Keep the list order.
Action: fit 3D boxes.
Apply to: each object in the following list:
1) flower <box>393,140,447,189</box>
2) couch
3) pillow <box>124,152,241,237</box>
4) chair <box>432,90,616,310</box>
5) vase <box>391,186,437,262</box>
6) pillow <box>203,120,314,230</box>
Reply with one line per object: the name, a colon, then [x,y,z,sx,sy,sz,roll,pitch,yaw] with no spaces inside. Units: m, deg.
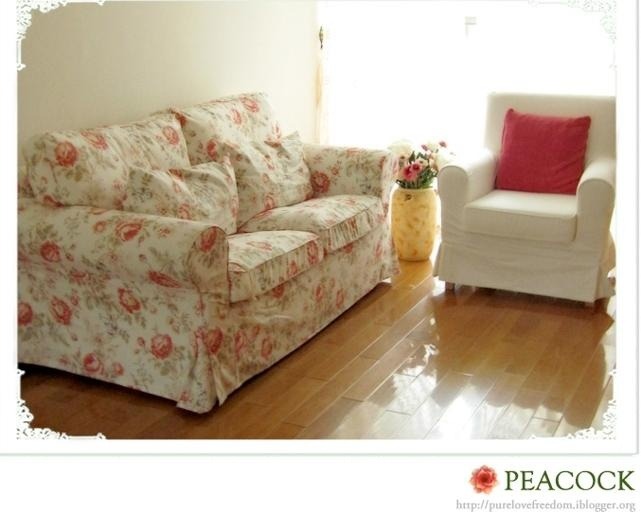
flower: [0.648,-0.603,3.417,0.312,0.249,0.336,0,7,-14]
couch: [-0.520,-0.138,2.555,0.997,1.119,1.716,10,21,32]
pillow: [-0.643,-0.247,2.400,0.217,0.394,0.681,31,33,33]
chair: [1.094,-0.368,3.389,1.228,1.458,1.154,6,20,24]
vase: [0.663,-0.262,3.623,0.328,0.550,0.348,-10,24,-11]
pillow: [-0.307,-0.469,2.984,0.233,0.488,0.752,-1,13,37]
